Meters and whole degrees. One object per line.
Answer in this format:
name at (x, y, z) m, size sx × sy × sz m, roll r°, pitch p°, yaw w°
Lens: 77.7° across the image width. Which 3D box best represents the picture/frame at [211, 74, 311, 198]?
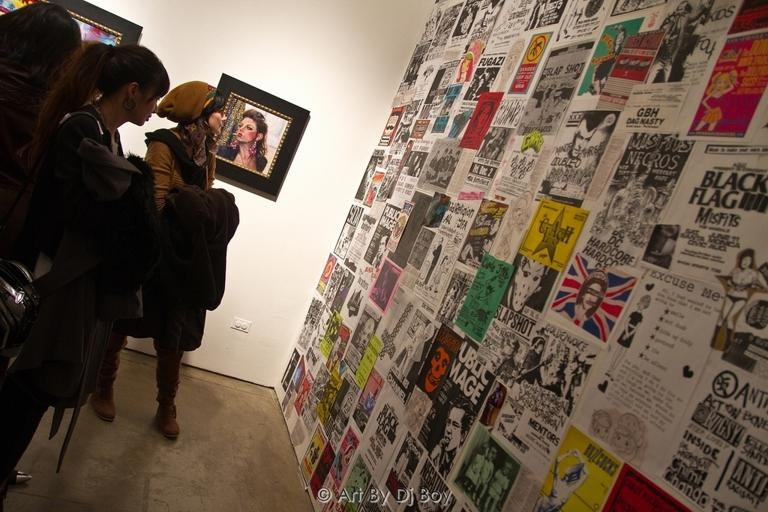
picture/frame at (-1.080, -1.057, 4.052) m, size 0.896 × 0.968 × 0.077 m, roll 24°, pitch 1°, yaw -18°
